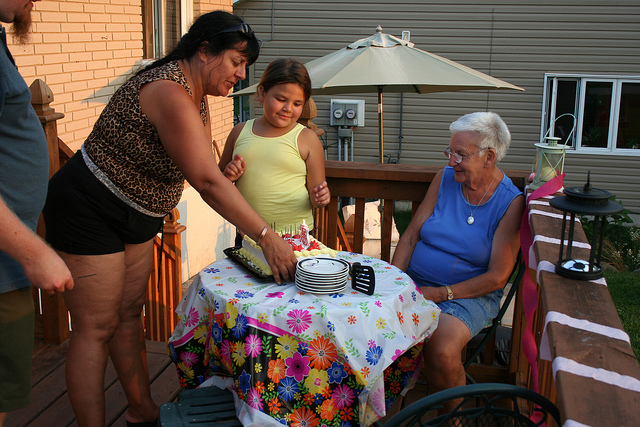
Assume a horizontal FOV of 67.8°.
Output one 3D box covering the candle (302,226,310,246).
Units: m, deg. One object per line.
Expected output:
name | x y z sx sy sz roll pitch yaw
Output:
candle | -0.091 0.140 2.992 0.091 0.138 0.025 7 10 43

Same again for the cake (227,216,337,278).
cake | -0.166 0.185 3.231 0.615 0.343 0.797 -5 16 -32

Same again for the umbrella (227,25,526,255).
umbrella | 1.166 -0.836 6.799 2.860 2.494 3.203 1 8 12

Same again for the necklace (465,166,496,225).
necklace | 1.180 -0.084 3.547 0.034 0.531 0.141 2 10 -45

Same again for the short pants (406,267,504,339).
short pants | 1.058 0.624 3.441 0.513 0.205 0.415 34 -28 2

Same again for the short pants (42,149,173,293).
short pants | -1.226 0.045 2.766 0.504 0.504 0.723 33 -6 39

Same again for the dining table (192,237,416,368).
dining table | -0.087 0.501 2.749 1.278 0.468 0.640 3 15 3
